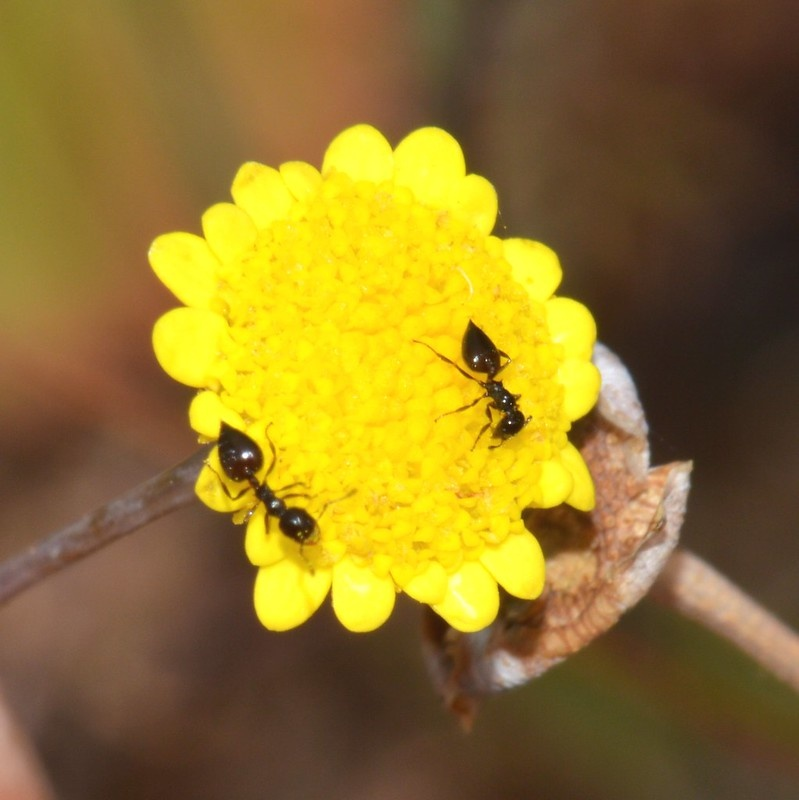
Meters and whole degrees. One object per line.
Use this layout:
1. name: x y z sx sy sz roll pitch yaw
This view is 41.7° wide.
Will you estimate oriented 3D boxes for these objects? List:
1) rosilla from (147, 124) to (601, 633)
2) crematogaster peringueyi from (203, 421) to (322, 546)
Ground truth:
1. rosilla: -0.052 0.079 1.688 0.536 0.888 0.736 -3 30 7
2. crematogaster peringueyi: -0.195 0.122 1.509 0.090 0.201 0.119 -32 -13 -6
